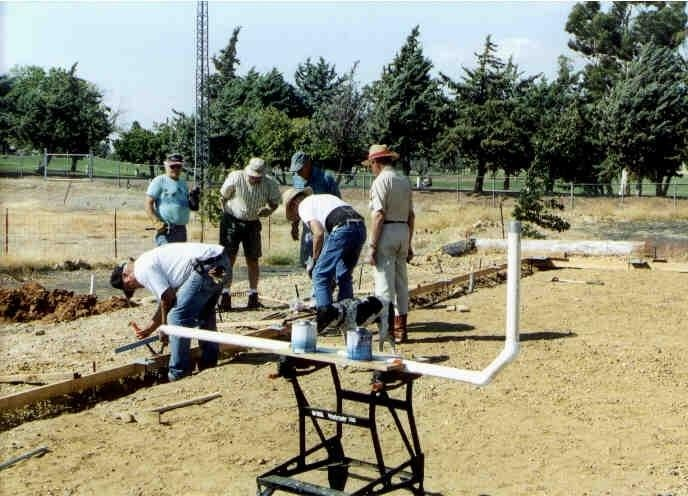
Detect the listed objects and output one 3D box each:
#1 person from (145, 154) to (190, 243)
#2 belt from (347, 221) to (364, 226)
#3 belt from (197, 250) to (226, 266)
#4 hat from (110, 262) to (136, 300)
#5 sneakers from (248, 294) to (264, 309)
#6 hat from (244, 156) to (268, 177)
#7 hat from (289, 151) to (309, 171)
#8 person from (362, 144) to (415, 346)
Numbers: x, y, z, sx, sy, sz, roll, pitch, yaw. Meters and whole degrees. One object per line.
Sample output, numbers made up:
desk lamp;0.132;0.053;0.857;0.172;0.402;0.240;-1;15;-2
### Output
person;-3.007;-0.840;14.650;0.751;1.560;0.727;2;5;-11
belt;0.185;-0.382;12.264;0.072;0.060;0.346;8;8;42
belt;-1.875;0.139;12.076;0.231;0.091;0.188;-30;5;23
hat;-3.156;0.435;12.211;0.313;0.500;0.627;1;6;-15
sneakers;-1.586;0.937;15.092;0.264;0.333;0.228;1;-6;-24
hat;-1.514;-1.383;14.545;0.357;0.311;0.327;2;6;-7
hat;-0.771;-1.399;13.945;0.375;0.328;0.244;7;7;36
person;0.709;-0.041;13.040;0.776;3.023;0.548;1;5;-15
